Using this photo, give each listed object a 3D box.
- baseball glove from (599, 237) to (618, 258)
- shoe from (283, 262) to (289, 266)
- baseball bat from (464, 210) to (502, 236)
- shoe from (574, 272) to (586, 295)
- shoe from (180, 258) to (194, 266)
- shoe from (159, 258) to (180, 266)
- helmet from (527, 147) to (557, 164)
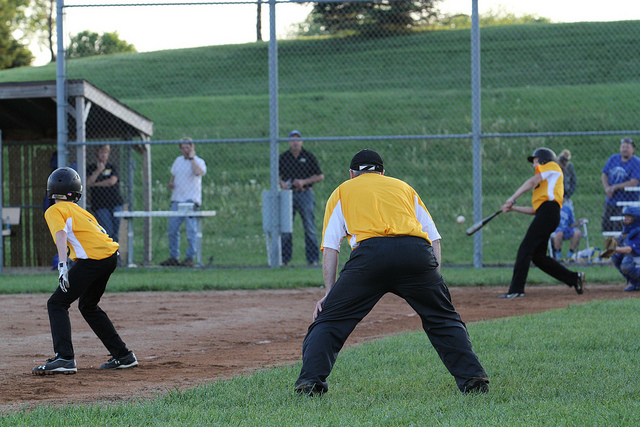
[{"bbox_3d":[5.664,0.702,22.872,0.141,0.398,0.310,44,-9,11],"label":"baseball glove"},{"bbox_3d":[-0.761,1.090,25.272,0.120,0.057,0.181,-2,13,-1],"label":"shoe"},{"bbox_3d":[3.843,0.233,27.431,1.177,0.159,0.156,-26,31,12],"label":"baseball bat"},{"bbox_3d":[4.917,1.393,22.234,0.240,0.520,0.190,4,43,11],"label":"shoe"},{"bbox_3d":[-2.899,1.042,25.153,0.310,0.167,0.126,0,14,8],"label":"shoe"},{"bbox_3d":[-3.321,1.068,25.326,0.483,0.207,0.163,2,-3,21],"label":"shoe"},{"bbox_3d":[4.195,-1.129,22.207,0.483,0.286,0.325,3,-5,12],"label":"helmet"}]
